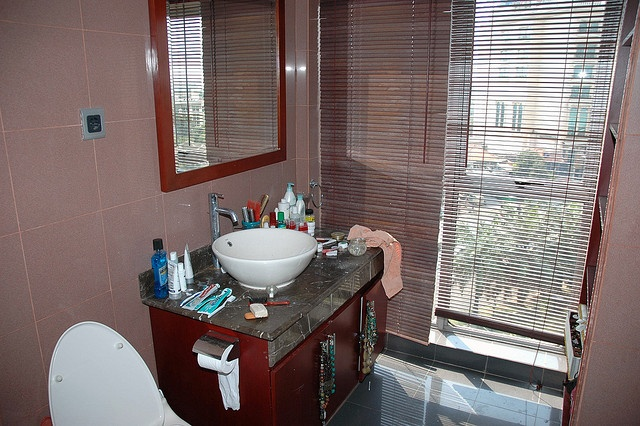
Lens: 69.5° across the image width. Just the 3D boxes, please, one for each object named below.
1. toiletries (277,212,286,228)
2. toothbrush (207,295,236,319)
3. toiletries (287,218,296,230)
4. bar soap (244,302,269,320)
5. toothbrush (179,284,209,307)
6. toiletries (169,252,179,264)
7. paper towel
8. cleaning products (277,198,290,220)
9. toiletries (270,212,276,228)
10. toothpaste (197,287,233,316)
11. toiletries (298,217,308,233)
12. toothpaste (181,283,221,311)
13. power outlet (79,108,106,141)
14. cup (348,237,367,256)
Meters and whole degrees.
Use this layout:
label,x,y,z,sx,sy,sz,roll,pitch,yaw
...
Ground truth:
label,x,y,z,sx,sy,sz,roll,pitch,yaw
toiletries,-0.253,0.043,2.995,0.054,0.085,0.090,-1,19,-6
toothbrush,-0.512,0.486,2.406,0.047,0.009,0.200,31,32,15
toiletries,-0.189,0.075,3.082,0.057,0.099,0.055,10,32,14
bar soap,-0.323,0.497,2.347,0.118,0.038,0.114,-1,19,-6
toothbrush,-0.676,0.439,2.474,0.045,0.012,0.177,20,28,24
toiletries,-0.784,0.240,2.455,0.039,0.066,0.038,15,32,8
paper towel,-0.507,0.813,2.303,0.193,0.380,0.138,5,12,31
cleaning products,-0.240,-0.032,3.081,0.112,0.184,0.110,-1,10,-5
toiletries,-0.307,0.039,3.001,0.046,0.086,0.090,-1,19,-6
toothpaste,-0.545,0.463,2.420,0.083,0.035,0.151,18,31,28
toiletries,-0.113,0.089,3.084,0.071,0.089,0.095,0,5,7
toothpaste,-0.646,0.442,2.449,0.073,0.028,0.203,12,22,25
power outlet,-1.076,-0.428,2.178,0.032,0.127,0.136,4,9,19
cup,0.232,0.222,2.954,0.091,0.078,0.117,0,8,5
